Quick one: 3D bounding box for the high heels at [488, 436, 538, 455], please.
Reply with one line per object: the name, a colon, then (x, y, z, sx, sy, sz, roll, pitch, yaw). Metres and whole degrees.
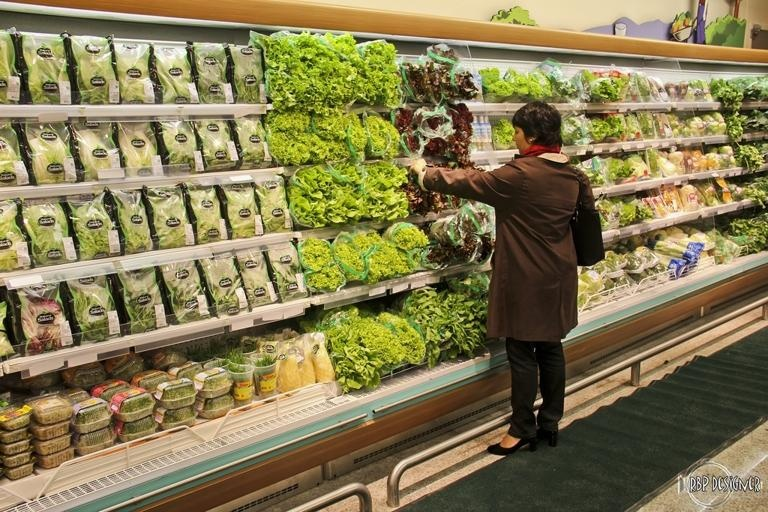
high heels: (0.907, 1.366, 3.514, 0.407, 0.142, 0.134, 2, 6, -1)

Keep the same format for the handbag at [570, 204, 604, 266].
handbag: (1.474, -0.147, 3.535, 0.228, 0.477, 0.434, -9, 8, 8)
